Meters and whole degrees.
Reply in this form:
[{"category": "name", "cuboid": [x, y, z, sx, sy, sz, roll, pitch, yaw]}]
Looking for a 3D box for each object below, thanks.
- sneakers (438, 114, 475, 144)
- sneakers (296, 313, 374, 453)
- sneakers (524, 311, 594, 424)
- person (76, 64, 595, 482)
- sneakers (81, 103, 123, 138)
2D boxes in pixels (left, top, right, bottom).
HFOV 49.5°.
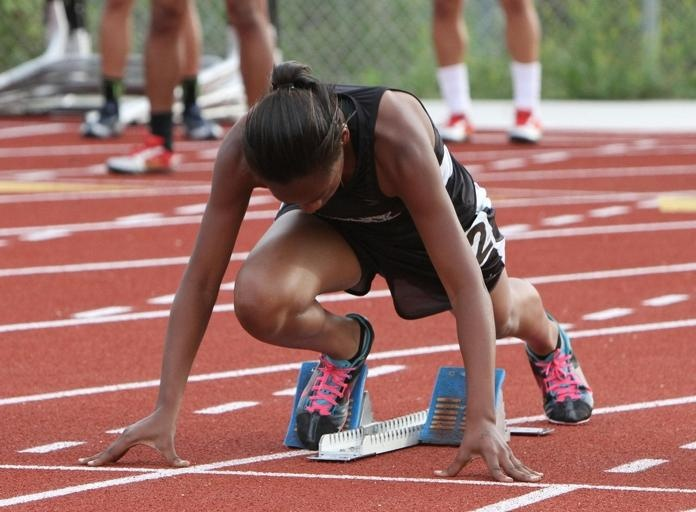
[{"category": "sneakers", "cuboid": [1.028, -1.194, 7.121, 0.225, 0.261, 0.612, 3, 5, 11]}, {"category": "sneakers", "cuboid": [-0.021, 0.363, 2.231, 0.137, 0.405, 0.171, 15, -14, 9]}, {"category": "sneakers", "cuboid": [0.683, 0.352, 2.466, 0.136, 0.162, 0.405, -26, 47, 11]}, {"category": "person", "cuboid": [0.216, 0.069, 2.382, 1.262, 1.097, 1.807, -1, 3, 35]}, {"category": "sneakers", "cuboid": [-1.440, -0.795, 4.432, 0.193, 0.093, 0.195, 31, 48, -1]}]
